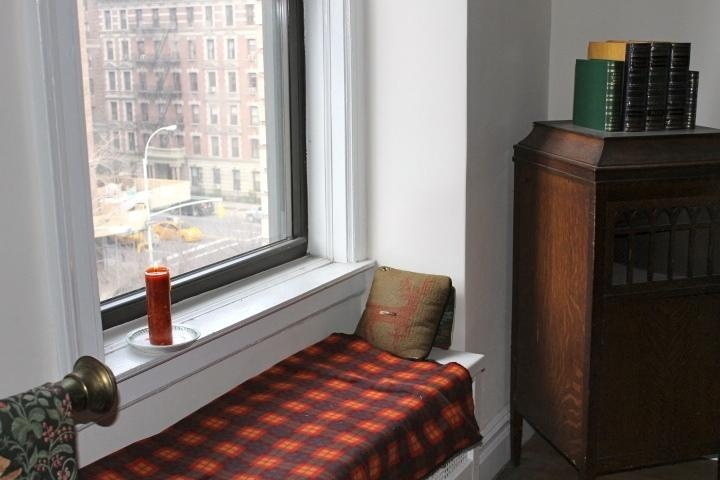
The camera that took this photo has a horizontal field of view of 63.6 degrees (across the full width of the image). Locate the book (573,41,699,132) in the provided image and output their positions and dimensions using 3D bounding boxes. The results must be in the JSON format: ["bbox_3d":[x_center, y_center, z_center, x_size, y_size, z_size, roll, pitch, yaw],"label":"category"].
[{"bbox_3d":[1.126,-0.630,2.366,0.439,0.346,0.271,-3,17,-3],"label":"book"}]

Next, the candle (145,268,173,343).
[{"bbox_3d":[-0.649,0.212,1.874,0.089,0.232,0.162,-9,18,-20],"label":"candle"}]

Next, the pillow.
[{"bbox_3d":[0.181,0.295,2.385,0.356,0.358,0.131,12,-12,34],"label":"pillow"}]
